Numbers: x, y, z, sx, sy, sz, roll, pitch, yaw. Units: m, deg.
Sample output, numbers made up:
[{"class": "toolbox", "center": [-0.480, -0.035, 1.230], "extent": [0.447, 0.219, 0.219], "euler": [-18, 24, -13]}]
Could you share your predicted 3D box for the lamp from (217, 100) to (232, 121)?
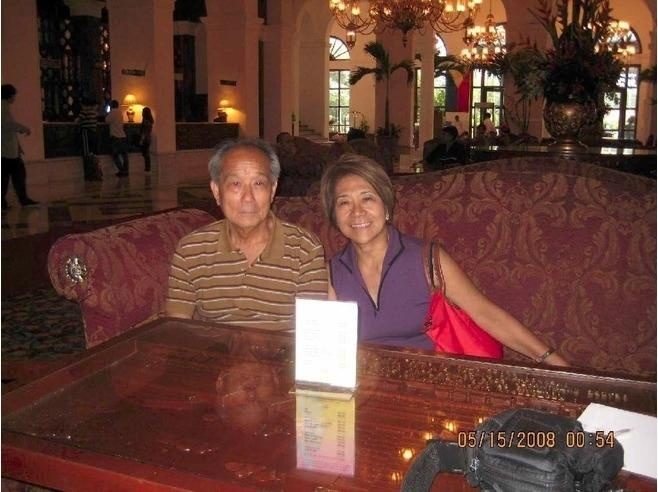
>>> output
[{"class": "lamp", "center": [-2.823, -3.644, 14.021], "extent": [0.399, 0.550, 0.224], "euler": [-2, 7, -13]}]

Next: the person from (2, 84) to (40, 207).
[{"class": "person", "center": [-4.906, -1.568, 8.114], "extent": [0.490, 1.946, 1.484], "euler": [-4, 8, -29]}]

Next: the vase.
[{"class": "vase", "center": [1.713, -0.921, 3.739], "extent": [0.419, 0.464, 0.455], "euler": [2, 18, 24]}]

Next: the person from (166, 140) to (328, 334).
[{"class": "person", "center": [-0.345, -0.052, 2.234], "extent": [0.671, 0.807, 0.258], "euler": [-1, 7, -1]}]

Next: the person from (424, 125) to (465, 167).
[{"class": "person", "center": [1.920, -1.527, 8.518], "extent": [0.461, 0.853, 0.589], "euler": [0, -4, -40]}]
